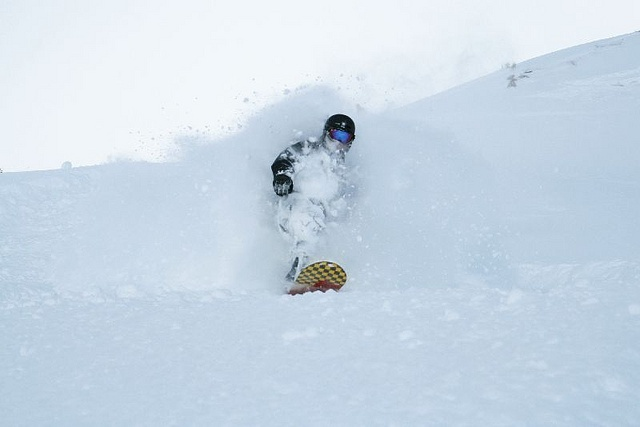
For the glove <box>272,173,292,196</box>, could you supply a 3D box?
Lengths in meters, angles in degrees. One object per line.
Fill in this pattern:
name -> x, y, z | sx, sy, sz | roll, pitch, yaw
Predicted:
glove -> -0.571, -0.470, 11.649 | 0.286, 0.258, 0.388 | -11, 62, 13
